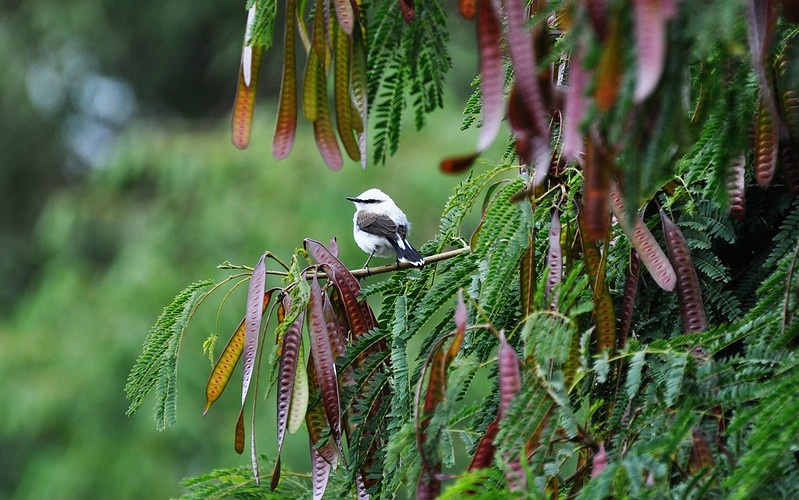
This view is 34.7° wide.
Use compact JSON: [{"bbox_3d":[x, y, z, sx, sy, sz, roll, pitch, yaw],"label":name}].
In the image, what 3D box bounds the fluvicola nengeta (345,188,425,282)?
[{"bbox_3d":[-0.105,-0.162,9.847,0.372,0.585,0.876,-4,8,-34],"label":"fluvicola nengeta"}]
